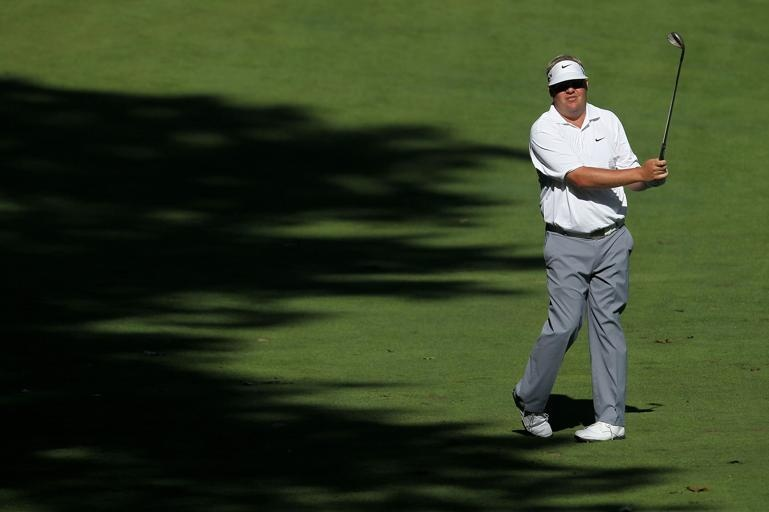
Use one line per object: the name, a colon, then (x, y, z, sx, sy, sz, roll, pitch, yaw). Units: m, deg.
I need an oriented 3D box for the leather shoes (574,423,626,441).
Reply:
leather shoes: (1.426, 1.177, 8.604, 0.328, 0.082, 0.124, 1, -2, -9)

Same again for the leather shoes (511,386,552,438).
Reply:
leather shoes: (0.967, 1.068, 8.752, 0.200, 0.367, 0.193, -26, -1, -17)
